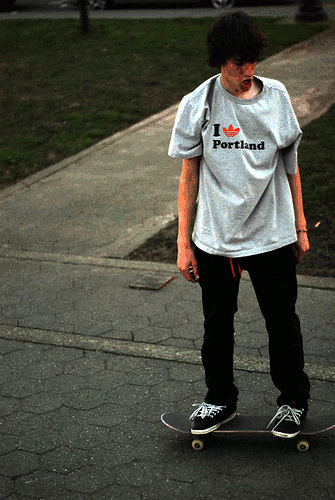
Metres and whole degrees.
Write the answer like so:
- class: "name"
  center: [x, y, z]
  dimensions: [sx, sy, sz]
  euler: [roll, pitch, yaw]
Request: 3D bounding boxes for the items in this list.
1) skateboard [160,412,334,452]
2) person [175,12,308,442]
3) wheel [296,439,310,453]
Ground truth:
- class: "skateboard"
  center: [0.428, 0.949, 2.837]
  dimensions: [1.015, 0.142, 0.230]
  euler: [1, 21, 6]
- class: "person"
  center: [0.337, 0.013, 2.624]
  dimensions: [0.631, 2.120, 0.634]
  euler: [-3, 27, 12]
- class: "wheel"
  center: [0.691, 0.993, 2.806]
  dimensions: [0.063, 0.089, 0.080]
  euler: [-1, 25, 13]
